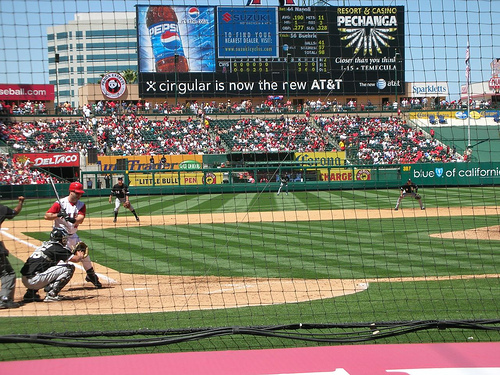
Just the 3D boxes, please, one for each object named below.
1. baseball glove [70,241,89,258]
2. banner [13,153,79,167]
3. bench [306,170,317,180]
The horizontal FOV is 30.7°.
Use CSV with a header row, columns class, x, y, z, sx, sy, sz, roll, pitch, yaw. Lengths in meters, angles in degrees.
class,x,y,z,sx,sy,sz,roll,pitch,yaw
baseball glove,-3.973,1.438,21.262,0.363,0.247,0.413,0,4,-13
banner,-9.397,-1.324,43.672,3.539,0.568,0.339,0,11,-32
bench,2.962,-0.563,43.937,0.512,0.378,0.332,-1,10,-4
